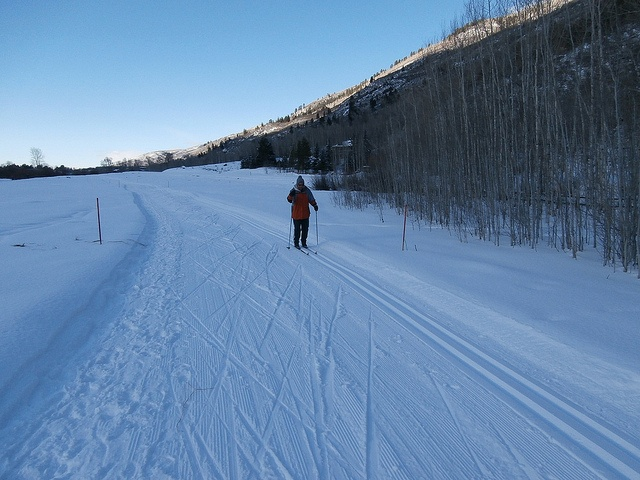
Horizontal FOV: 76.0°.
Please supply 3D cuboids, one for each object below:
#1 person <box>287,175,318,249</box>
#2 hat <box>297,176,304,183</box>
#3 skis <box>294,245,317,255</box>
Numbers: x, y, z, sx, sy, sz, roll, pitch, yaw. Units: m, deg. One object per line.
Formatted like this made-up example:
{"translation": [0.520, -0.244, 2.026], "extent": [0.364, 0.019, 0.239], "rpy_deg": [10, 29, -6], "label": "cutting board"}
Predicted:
{"translation": [-0.477, -0.851, 11.387], "extent": [0.748, 1.851, 1.595], "rpy_deg": [-2, 13, -3], "label": "person"}
{"translation": [-0.533, -1.640, 11.140], "extent": [0.214, 0.115, 0.338], "rpy_deg": [1, 5, 2], "label": "hat"}
{"translation": [-0.350, 0.275, 10.583], "extent": [0.195, 0.077, 0.875], "rpy_deg": [-4, 16, -29], "label": "skis"}
